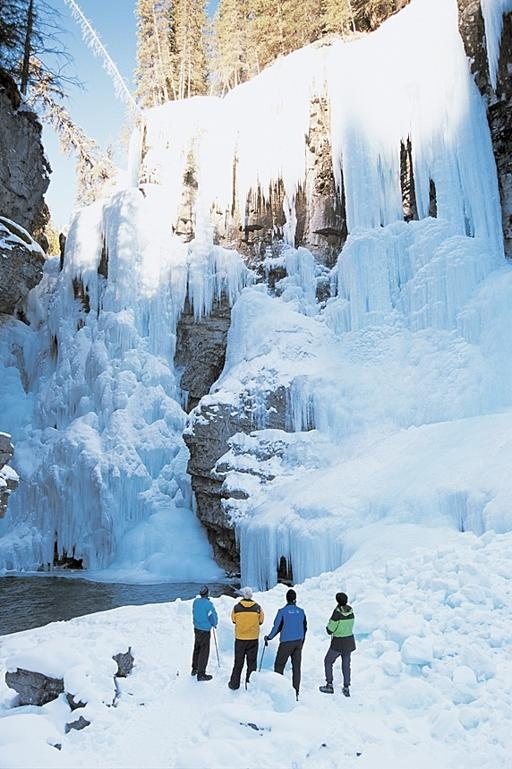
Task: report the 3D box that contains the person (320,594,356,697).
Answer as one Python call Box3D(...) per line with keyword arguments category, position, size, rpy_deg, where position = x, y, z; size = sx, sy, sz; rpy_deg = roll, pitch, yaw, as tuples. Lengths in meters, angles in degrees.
Box3D(category="person", position=(0.931, 2.975, 8.660), size=(0.400, 1.128, 0.596), rpy_deg=(-1, -10, 5))

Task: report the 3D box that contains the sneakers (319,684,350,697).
Box3D(category="sneakers", position=(0.904, 3.443, 8.493), size=(0.344, 0.147, 0.115), rpy_deg=(-2, -15, 30))

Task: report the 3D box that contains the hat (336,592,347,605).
Box3D(category="hat", position=(0.965, 2.451, 8.563), size=(0.130, 0.158, 0.170), rpy_deg=(1, -6, 19))

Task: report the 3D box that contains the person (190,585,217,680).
Box3D(category="person", position=(-0.634, 2.975, 9.006), size=(0.278, 1.065, 0.620), rpy_deg=(1, -10, -4))

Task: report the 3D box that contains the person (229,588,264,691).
Box3D(category="person", position=(-0.127, 2.913, 8.623), size=(0.380, 1.181, 0.772), rpy_deg=(0, -10, -2))

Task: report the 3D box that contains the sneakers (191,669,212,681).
Box3D(category="sneakers", position=(-0.650, 3.418, 8.859), size=(0.213, 0.205, 0.097), rpy_deg=(-1, -4, -19))

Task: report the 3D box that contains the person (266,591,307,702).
Box3D(category="person", position=(0.331, 2.953, 8.592), size=(0.438, 1.176, 0.547), rpy_deg=(0, -10, 1))
